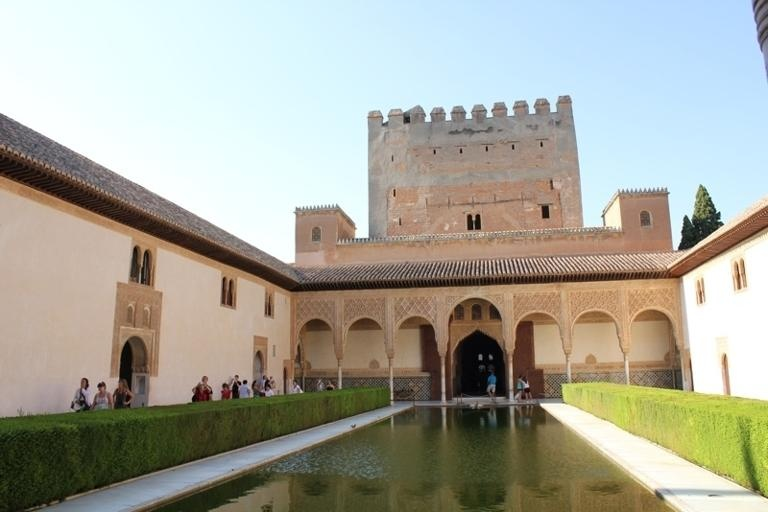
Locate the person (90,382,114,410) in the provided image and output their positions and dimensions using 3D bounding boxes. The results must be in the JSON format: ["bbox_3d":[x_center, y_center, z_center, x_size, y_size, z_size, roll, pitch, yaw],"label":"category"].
[{"bbox_3d":[-6.160,3.069,12.298,0.416,0.554,0.858,4,-10,-27],"label":"person"}]

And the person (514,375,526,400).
[{"bbox_3d":[5.432,5.288,22.318,0.394,0.876,1.566,-2,-9,14],"label":"person"}]
